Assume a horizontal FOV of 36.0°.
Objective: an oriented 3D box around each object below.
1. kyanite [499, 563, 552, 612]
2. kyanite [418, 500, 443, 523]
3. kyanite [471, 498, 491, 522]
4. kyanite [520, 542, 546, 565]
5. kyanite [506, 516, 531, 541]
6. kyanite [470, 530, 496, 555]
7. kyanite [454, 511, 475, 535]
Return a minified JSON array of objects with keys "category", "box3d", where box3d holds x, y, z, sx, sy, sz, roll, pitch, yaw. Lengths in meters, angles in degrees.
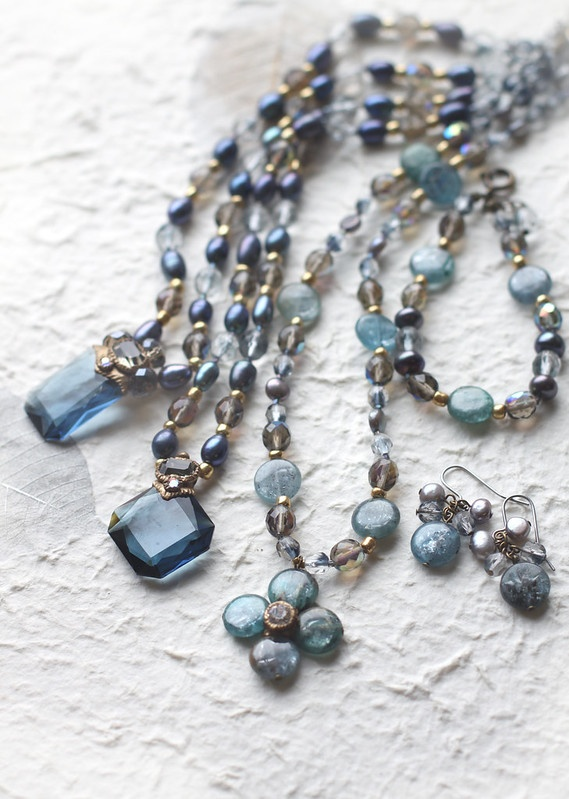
[{"category":"kyanite","box3d":[0.382,0.294,1.383,0.074,0.048,0.072,1,51,11]},{"category":"kyanite","box3d":[0.244,0.187,1.458,0.044,0.036,0.031,-5,96,-9]},{"category":"kyanite","box3d":[0.326,0.183,1.446,0.032,0.030,0.035,0,82,13]},{"category":"kyanite","box3d":[0.404,0.245,1.404,0.042,0.014,0.028,31,98,-14]},{"category":"kyanite","box3d":[0.379,0.212,1.433,0.033,0.020,0.038,42,76,13]},{"category":"kyanite","box3d":[0.321,0.231,1.420,0.039,0.022,0.036,-6,77,-12]},{"category":"kyanite","box3d":[0.298,0.204,1.445,0.031,0.014,0.034,-7,75,-27]}]
